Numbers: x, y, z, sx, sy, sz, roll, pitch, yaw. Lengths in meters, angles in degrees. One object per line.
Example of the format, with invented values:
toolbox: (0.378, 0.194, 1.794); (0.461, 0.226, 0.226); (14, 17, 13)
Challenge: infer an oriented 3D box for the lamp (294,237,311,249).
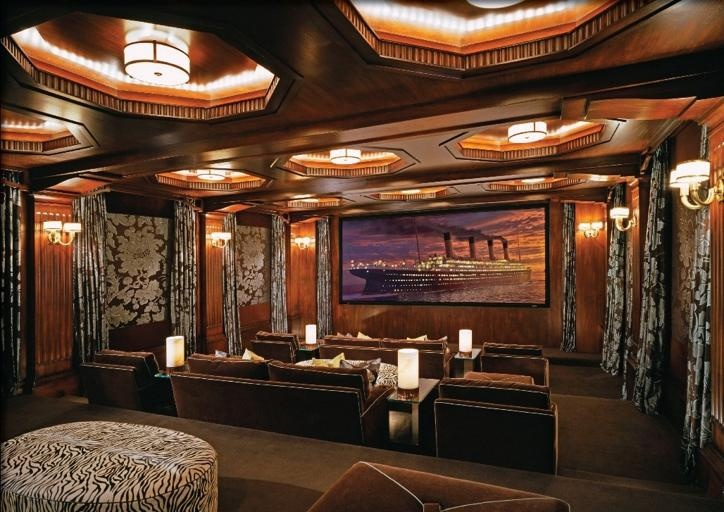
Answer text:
lamp: (-1.372, -0.314, 11.774); (0.330, 0.173, 0.284); (0, -4, 4)

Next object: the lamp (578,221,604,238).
lamp: (4.121, -0.477, 9.081); (0.313, 0.298, 0.487); (11, -11, -39)

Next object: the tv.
tv: (1.554, 0.036, 10.778); (5.180, 1.967, 0.119); (-2, -1, 42)

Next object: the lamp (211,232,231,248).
lamp: (-2.588, -0.315, 9.295); (0.355, 0.199, 0.286); (0, -2, -2)

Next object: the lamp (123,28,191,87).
lamp: (-1.736, -1.615, 4.303); (0.549, 0.146, 0.473); (-2, -6, 7)
